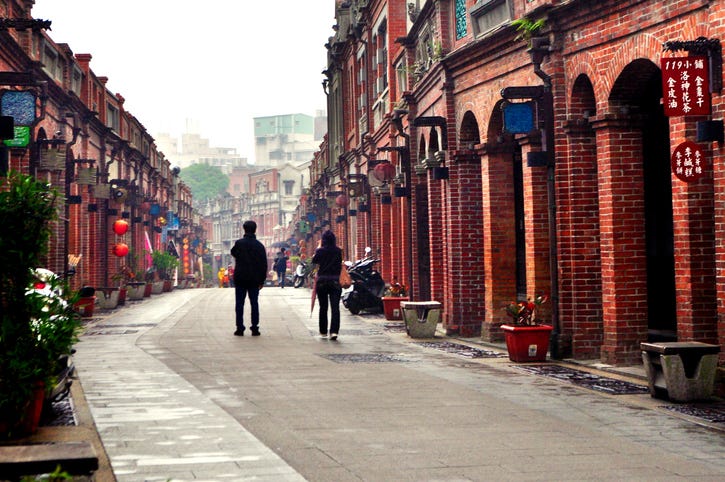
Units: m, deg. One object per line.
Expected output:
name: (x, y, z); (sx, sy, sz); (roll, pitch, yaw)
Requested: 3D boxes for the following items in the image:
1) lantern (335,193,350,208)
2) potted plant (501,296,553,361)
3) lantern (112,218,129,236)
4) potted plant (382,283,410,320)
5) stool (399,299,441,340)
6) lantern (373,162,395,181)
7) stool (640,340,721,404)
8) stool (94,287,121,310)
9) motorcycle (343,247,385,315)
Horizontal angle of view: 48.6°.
lantern: (-0.906, -1.853, 37.263); (0.604, 0.601, 0.592); (0, -1, 12)
potted plant: (2.993, 1.548, 14.219); (0.715, 1.150, 1.114); (0, 0, 42)
lantern: (-10.164, -0.583, 33.621); (0.737, 0.818, 0.726); (0, -8, -6)
potted plant: (0.839, 1.651, 21.874); (1.004, 1.170, 0.836); (0, -4, -7)
stool: (1.260, 1.771, 18.001); (0.731, 0.611, 0.842); (0, -5, -6)
lantern: (0.675, -2.058, 23.810); (0.547, 0.565, 0.536); (-2, 6, 2)
stool: (4.176, 1.701, 10.678); (0.820, 0.683, 0.801); (-1, -2, -6)
stool: (-8.490, 1.918, 26.711); (0.782, 0.628, 0.668); (1, -4, -17)
motorcycle: (0.037, 1.330, 23.831); (1.200, 1.830, 1.984); (0, 0, 1)
